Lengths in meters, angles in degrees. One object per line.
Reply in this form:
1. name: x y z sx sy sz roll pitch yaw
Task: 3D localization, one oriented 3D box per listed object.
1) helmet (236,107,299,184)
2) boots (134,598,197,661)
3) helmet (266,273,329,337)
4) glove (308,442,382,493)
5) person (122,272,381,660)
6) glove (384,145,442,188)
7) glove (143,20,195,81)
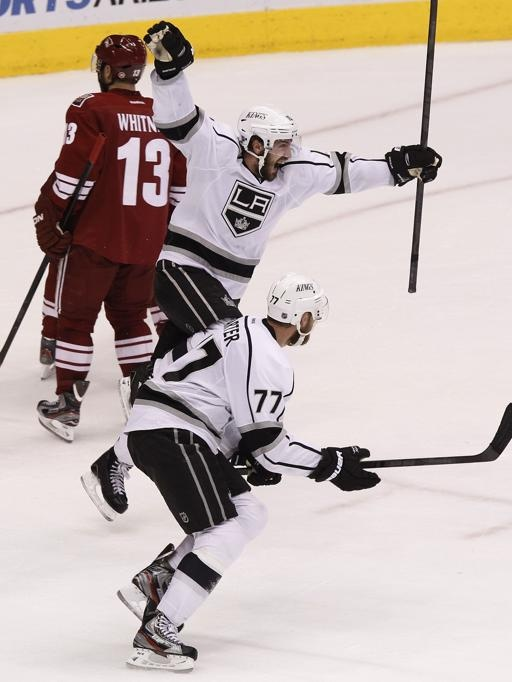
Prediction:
1. helmet: 0.032 -0.637 2.500 0.264 0.236 0.192 7 26 8
2. boots: -0.234 0.709 1.862 0.067 0.120 0.209 -28 -41 36
3. helmet: 0.113 -0.116 2.254 0.210 0.182 0.150 -10 26 -20
4. glove: 0.265 0.383 2.297 0.335 0.147 0.107 10 -20 -41
5. person: -0.047 0.299 2.023 0.668 0.874 0.763 4 15 17
6. glove: 0.576 -0.641 2.866 0.225 0.127 0.086 -6 -28 -7
7. glove: -0.272 -0.893 2.380 0.148 0.172 0.140 -6 15 -19
